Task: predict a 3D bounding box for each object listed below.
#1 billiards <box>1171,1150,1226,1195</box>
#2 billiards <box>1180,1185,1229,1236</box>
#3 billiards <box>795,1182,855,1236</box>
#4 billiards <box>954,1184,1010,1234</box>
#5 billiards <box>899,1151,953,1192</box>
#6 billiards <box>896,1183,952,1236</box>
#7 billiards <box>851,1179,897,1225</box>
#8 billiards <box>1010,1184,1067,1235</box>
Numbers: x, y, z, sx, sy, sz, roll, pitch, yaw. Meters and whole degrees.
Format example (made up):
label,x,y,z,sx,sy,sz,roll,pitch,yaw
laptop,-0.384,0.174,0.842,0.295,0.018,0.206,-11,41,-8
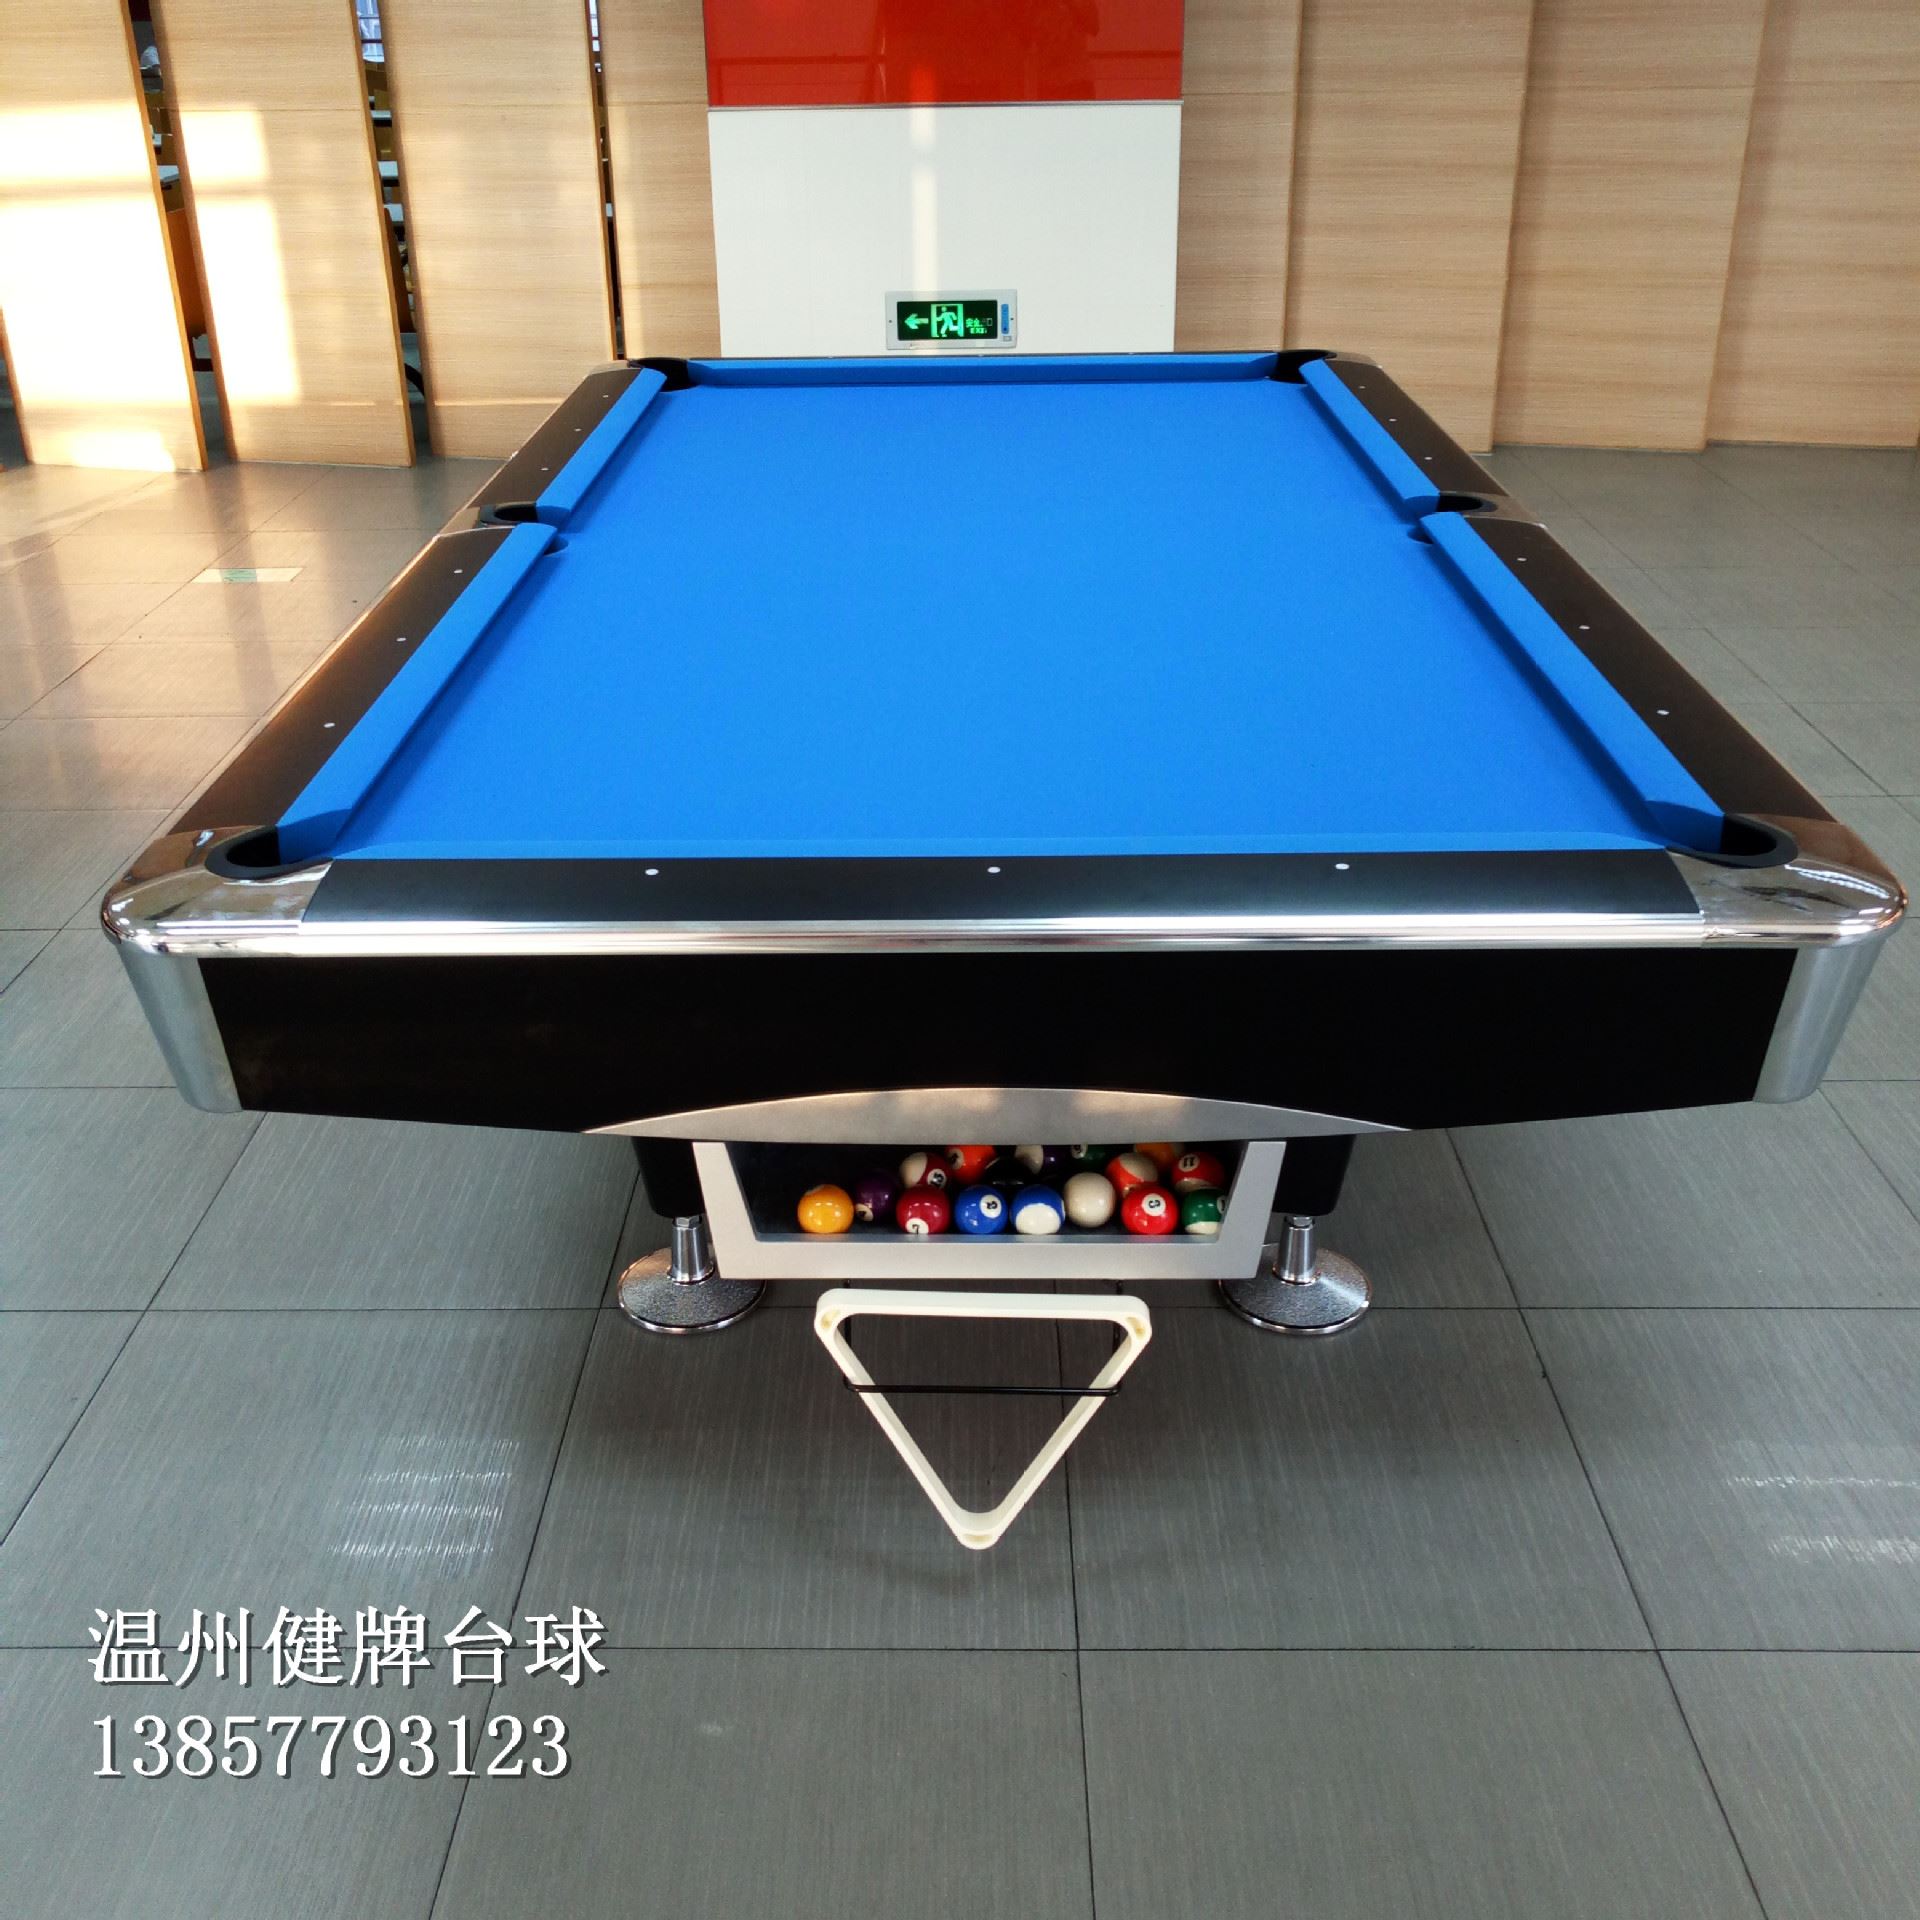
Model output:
label,x,y,z,sx,sy,sz,roll,pitch,yaw
billiards,0.263,0.236,1.783,0.059,0.051,0.051,-1,-6,5
billiards,0.263,0.274,1.760,0.055,0.042,0.044,-3,42,-3
billiards,-0.143,0.275,1.752,0.062,0.048,0.054,11,9,-10
billiards,0.024,0.272,1.741,0.061,0.059,0.049,3,52,15
billiards,-0.036,0.234,1.797,0.054,0.047,0.047,1,-1,1
billiards,-0.035,0.269,1.758,0.061,0.047,0.051,0,24,3
billiards,-0.091,0.265,1.782,0.053,0.044,0.052,3,6,20
billiards,0.082,0.270,1.736,0.050,0.037,0.056,-1,5,2
